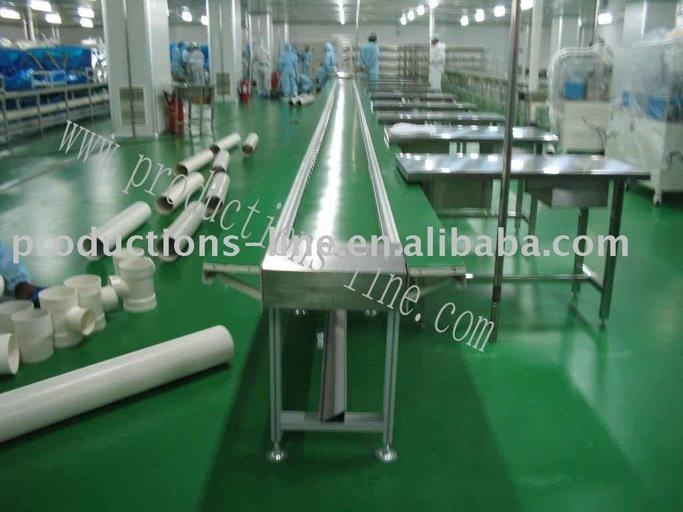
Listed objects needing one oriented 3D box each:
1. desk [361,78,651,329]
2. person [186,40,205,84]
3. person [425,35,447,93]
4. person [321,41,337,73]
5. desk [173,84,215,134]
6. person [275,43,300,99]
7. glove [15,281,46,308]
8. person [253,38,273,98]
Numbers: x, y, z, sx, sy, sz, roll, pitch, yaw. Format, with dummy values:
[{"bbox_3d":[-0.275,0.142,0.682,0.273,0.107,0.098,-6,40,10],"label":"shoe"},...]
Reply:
[{"bbox_3d":[1.081,-0.248,3.039,1.380,1.137,1.118,0,19,1],"label":"desk"},{"bbox_3d":[-3.212,-4.261,11.103,0.375,0.789,0.551,-9,20,-22],"label":"person"},{"bbox_3d":[2.042,-4.327,10.987,0.215,0.772,0.170,23,28,28],"label":"person"},{"bbox_3d":[-0.350,-5.920,15.031,0.362,0.870,1.122,-2,20,-2],"label":"person"},{"bbox_3d":[-2.732,-2.848,9.343,0.649,0.766,4.900,-6,21,-13],"label":"desk"},{"bbox_3d":[-1.408,-4.881,13.193,0.452,1.287,1.119,-3,19,-7],"label":"person"},{"bbox_3d":[-1.556,0.196,2.493,0.116,0.050,0.072,27,0,-13],"label":"glove"},{"bbox_3d":[-2.225,-5.207,14.116,0.467,1.645,0.400,-6,-12,-2],"label":"person"}]
